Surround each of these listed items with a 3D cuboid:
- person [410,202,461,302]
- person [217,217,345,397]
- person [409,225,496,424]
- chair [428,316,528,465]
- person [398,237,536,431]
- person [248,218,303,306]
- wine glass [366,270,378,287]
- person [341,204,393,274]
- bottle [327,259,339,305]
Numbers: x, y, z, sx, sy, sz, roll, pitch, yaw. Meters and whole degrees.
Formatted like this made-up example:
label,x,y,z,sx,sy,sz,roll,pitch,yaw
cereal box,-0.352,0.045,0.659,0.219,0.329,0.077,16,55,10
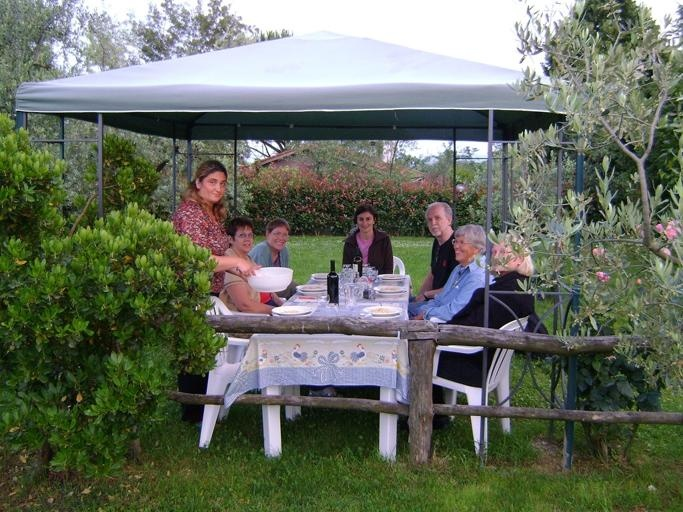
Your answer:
label,x,y,z,sx,sy,sz,roll,pitch,yaw
person,1.078,0.015,6.538,0.598,1.222,0.712,-2,8,-15
person,-0.688,0.452,5.411,0.763,1.685,0.592,-11,8,-6
person,0.950,0.588,5.086,0.727,1.671,0.691,-1,3,-1
chair,1.142,1.041,4.987,0.845,1.357,0.898,1,1,32
person,1.061,0.692,4.365,0.914,1.753,1.294,4,9,21
person,-0.753,0.051,6.414,0.522,0.939,0.635,-5,15,-34
wine glass,0.319,0.236,6.170,0.175,0.229,0.142,1,-3,-26
person,0.320,-0.137,7.196,0.544,1.039,0.543,-5,5,3
bottle,-0.080,0.216,5.025,0.096,0.458,0.108,-6,34,-1
